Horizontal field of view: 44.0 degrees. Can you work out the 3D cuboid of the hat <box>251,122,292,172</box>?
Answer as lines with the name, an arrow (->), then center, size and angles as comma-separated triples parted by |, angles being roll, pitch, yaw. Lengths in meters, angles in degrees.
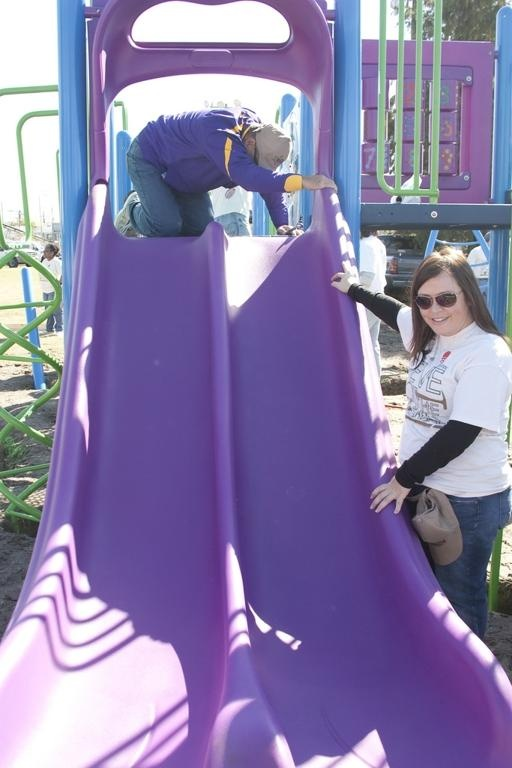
hat -> 0.053, -0.906, 2.459 | 0.155, 0.200, 0.183 | -13, 13, -34

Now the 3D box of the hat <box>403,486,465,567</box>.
hat -> 0.509, 0.404, 1.809 | 0.087, 0.174, 0.172 | -20, 26, 8
